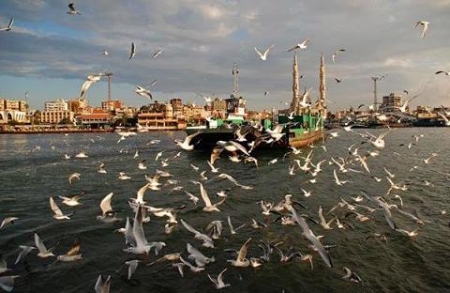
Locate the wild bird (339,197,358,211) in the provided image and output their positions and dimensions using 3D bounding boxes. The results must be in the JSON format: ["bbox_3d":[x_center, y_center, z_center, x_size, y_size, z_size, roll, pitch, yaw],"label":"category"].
[{"bbox_3d":[7.801,3.663,23.517,0.503,0.794,1.334,-14,-11,20],"label":"wild bird"}]

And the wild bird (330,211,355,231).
[{"bbox_3d":[6.866,4.424,21.685,1.181,0.493,0.543,24,-17,6],"label":"wild bird"}]

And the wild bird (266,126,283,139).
[{"bbox_3d":[2.850,-0.697,21.499,0.363,0.797,0.811,-17,3,34],"label":"wild bird"}]

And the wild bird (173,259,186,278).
[{"bbox_3d":[-2.255,6.104,18.390,0.413,0.643,0.916,2,-6,-14],"label":"wild bird"}]

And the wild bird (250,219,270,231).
[{"bbox_3d":[1.833,4.500,20.949,0.883,0.834,0.432,-30,-4,40],"label":"wild bird"}]

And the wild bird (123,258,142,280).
[{"bbox_3d":[-4.578,5.992,18.170,0.591,0.952,1.506,8,-3,-13],"label":"wild bird"}]

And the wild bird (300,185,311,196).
[{"bbox_3d":[5.694,3.187,26.187,0.477,0.301,0.706,4,-13,41],"label":"wild bird"}]

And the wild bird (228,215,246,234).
[{"bbox_3d":[0.665,4.575,21.499,1.234,0.744,0.925,26,-18,-24],"label":"wild bird"}]

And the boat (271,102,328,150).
[{"bbox_3d":[11.888,-3.763,61.260,5.630,5.550,24.712,10,11,22],"label":"boat"}]

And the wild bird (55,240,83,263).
[{"bbox_3d":[-8.089,5.508,19.217,0.916,1.721,0.401,8,39,-44],"label":"wild bird"}]

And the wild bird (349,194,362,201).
[{"bbox_3d":[8.671,3.413,24.702,0.695,0.302,0.421,0,11,-1],"label":"wild bird"}]

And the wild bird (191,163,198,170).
[{"bbox_3d":[-2.893,1.868,34.611,0.280,0.553,0.568,-30,64,-31],"label":"wild bird"}]

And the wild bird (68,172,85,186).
[{"bbox_3d":[-11.887,2.597,29.619,1.257,1.122,0.494,-6,-11,37],"label":"wild bird"}]

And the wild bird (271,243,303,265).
[{"bbox_3d":[3.114,5.551,19.037,1.356,0.510,1.204,3,6,33],"label":"wild bird"}]

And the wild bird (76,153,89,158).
[{"bbox_3d":[-14.410,0.913,37.512,0.752,0.321,0.736,17,-4,-43],"label":"wild bird"}]

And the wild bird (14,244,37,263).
[{"bbox_3d":[-10.144,5.467,18.658,1.251,0.522,1.183,12,7,-19],"label":"wild bird"}]

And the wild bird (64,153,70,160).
[{"bbox_3d":[-17.512,1.123,40.993,0.536,0.229,0.474,22,-2,9],"label":"wild bird"}]

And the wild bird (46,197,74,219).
[{"bbox_3d":[-9.983,3.779,22.456,0.923,2.208,0.384,-4,46,-6],"label":"wild bird"}]

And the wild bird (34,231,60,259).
[{"bbox_3d":[-9.391,5.271,19.543,0.790,0.656,1.600,-26,-2,-36],"label":"wild bird"}]

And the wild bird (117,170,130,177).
[{"bbox_3d":[-8.418,2.259,30.588,0.663,0.309,0.471,12,24,21],"label":"wild bird"}]

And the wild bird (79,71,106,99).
[{"bbox_3d":[-7.590,-3.343,20.851,1.167,1.363,2.085,-4,11,-20],"label":"wild bird"}]

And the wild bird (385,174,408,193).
[{"bbox_3d":[12.701,2.788,27.566,1.166,0.699,1.555,-4,5,-33],"label":"wild bird"}]

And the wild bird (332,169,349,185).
[{"bbox_3d":[9.172,2.460,29.437,1.284,0.684,0.897,30,-7,-3],"label":"wild bird"}]

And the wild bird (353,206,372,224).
[{"bbox_3d":[8.018,4.073,21.926,0.773,0.344,0.771,13,8,-24],"label":"wild bird"}]
